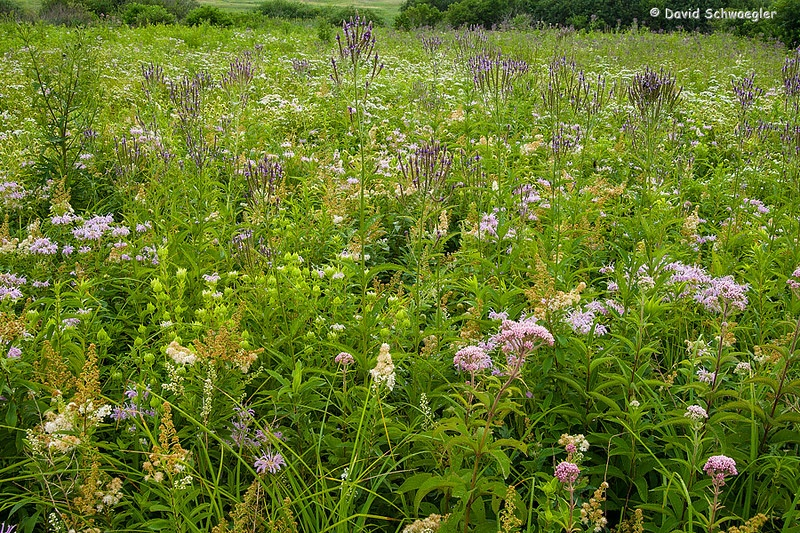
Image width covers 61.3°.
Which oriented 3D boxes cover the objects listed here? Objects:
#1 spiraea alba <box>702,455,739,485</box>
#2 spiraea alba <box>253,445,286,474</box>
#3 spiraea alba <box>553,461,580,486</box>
[{"bbox_3d":[2.253,1.405,4.786,0.226,0.269,0.250,1,-1,33],"label":"spiraea alba"},{"bbox_3d":[-0.979,1.464,5.047,0.222,0.131,0.234,3,0,-2],"label":"spiraea alba"},{"bbox_3d":[1.145,1.433,4.672,0.161,0.181,0.173,-7,-16,21],"label":"spiraea alba"}]
